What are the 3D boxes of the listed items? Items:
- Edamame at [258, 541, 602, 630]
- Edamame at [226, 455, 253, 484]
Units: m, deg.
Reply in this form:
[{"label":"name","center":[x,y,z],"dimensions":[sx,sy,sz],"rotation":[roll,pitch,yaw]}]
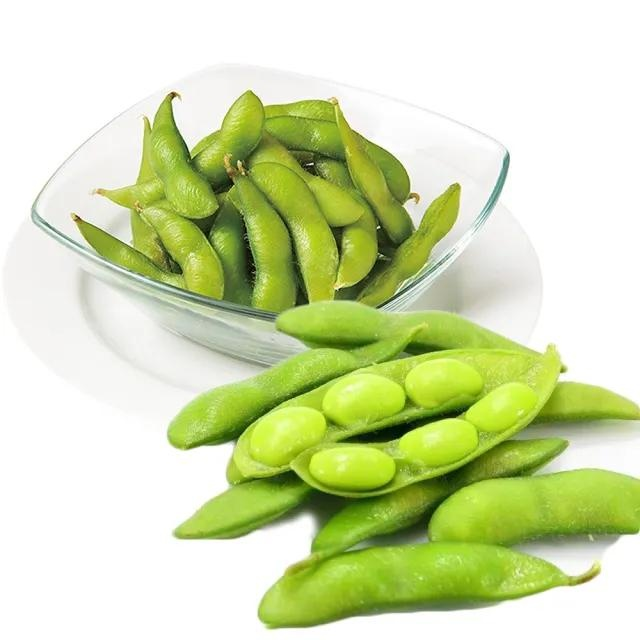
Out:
[{"label":"Edamame","center":[0.191,0.484,1.483],"dimensions":[0.629,0.092,0.126],"rotation":[-4,34,-4]},{"label":"Edamame","center":[-0.166,0.316,1.663],"dimensions":[0.049,0.050,0.049],"rotation":[-2,-5,-2]}]
